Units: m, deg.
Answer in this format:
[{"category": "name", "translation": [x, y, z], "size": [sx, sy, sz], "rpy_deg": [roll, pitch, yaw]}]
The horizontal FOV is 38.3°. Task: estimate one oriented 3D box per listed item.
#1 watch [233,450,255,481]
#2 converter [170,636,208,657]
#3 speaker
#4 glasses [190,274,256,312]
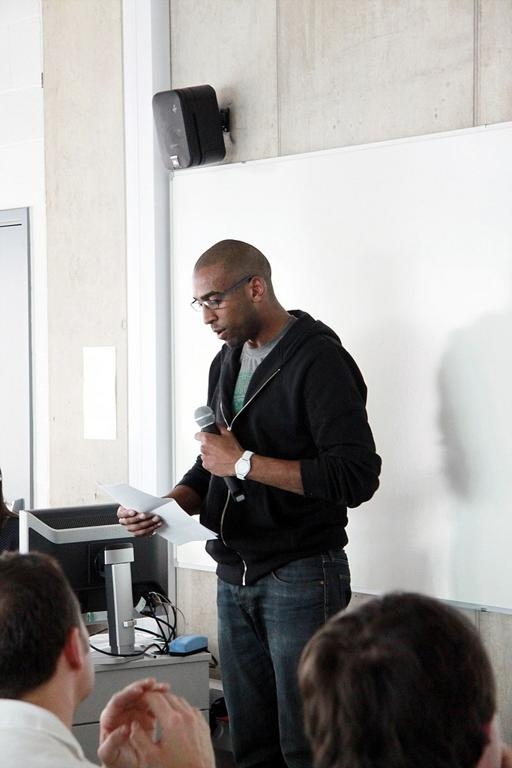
[{"category": "watch", "translation": [-0.032, 0.211, 1.892], "size": [0.041, 0.070, 0.065], "rpy_deg": [21, -3, 17]}, {"category": "converter", "translation": [-0.207, 0.784, 2.201], "size": [0.053, 0.045, 0.090], "rpy_deg": [-2, 3, 44]}, {"category": "speaker", "translation": [-0.276, -1.020, 2.923], "size": [0.282, 0.310, 0.139], "rpy_deg": [0, 2, 26]}, {"category": "glasses", "translation": [-0.085, -0.255, 2.039], "size": [0.123, 0.036, 0.118], "rpy_deg": [-38, 10, -28]}]
